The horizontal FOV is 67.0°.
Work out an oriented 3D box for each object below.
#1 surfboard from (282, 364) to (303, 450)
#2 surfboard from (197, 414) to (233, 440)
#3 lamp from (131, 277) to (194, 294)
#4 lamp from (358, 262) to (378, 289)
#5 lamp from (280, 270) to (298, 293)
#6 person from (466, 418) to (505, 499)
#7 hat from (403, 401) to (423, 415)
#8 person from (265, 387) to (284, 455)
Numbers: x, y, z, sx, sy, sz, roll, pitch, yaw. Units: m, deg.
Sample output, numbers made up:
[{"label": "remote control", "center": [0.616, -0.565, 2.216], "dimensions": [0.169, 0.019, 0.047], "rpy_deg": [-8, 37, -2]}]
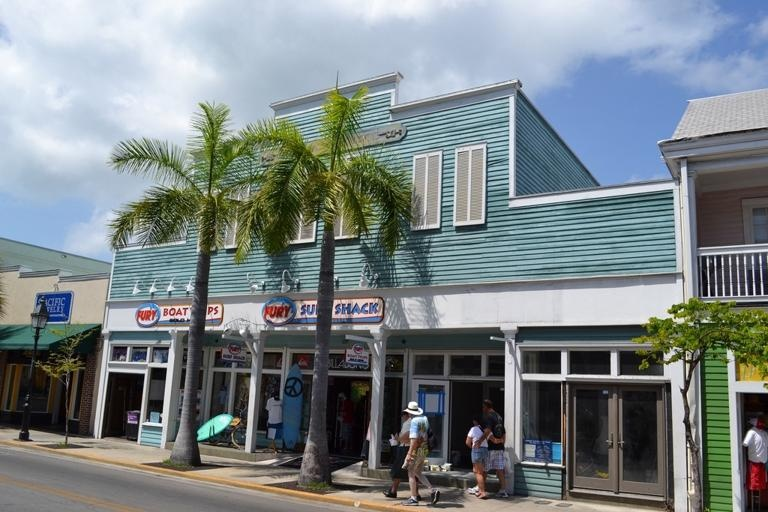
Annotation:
[{"label": "surfboard", "center": [-3.292, 5.414, 20.805], "dimensions": [0.663, 2.927, 0.990], "rpy_deg": [-2, -15, 15]}, {"label": "surfboard", "center": [-6.272, 6.242, 21.300], "dimensions": [1.467, 0.870, 0.243], "rpy_deg": [-38, -53, 10]}, {"label": "lamp", "center": [-9.063, 1.246, 23.418], "dimensions": [3.622, 0.816, 0.206], "rpy_deg": [-7, -17, 28]}, {"label": "lamp", "center": [-0.508, 0.656, 18.752], "dimensions": [0.547, 0.774, 0.264], "rpy_deg": [2, -8, 16]}, {"label": "lamp", "center": [-3.346, 0.869, 20.195], "dimensions": [0.784, 0.853, 0.183], "rpy_deg": [-5, -16, 24]}, {"label": "person", "center": [2.684, 5.424, 15.598], "dimensions": [0.873, 2.027, 1.239], "rpy_deg": [-1, -15, 8]}, {"label": "hat", "center": [0.756, 4.064, 15.432], "dimensions": [0.617, 0.296, 0.731], "rpy_deg": [2, -9, -6]}, {"label": "person", "center": [-4.055, 5.998, 21.134], "dimensions": [0.571, 2.161, 0.948], "rpy_deg": [13, -19, -37]}]
